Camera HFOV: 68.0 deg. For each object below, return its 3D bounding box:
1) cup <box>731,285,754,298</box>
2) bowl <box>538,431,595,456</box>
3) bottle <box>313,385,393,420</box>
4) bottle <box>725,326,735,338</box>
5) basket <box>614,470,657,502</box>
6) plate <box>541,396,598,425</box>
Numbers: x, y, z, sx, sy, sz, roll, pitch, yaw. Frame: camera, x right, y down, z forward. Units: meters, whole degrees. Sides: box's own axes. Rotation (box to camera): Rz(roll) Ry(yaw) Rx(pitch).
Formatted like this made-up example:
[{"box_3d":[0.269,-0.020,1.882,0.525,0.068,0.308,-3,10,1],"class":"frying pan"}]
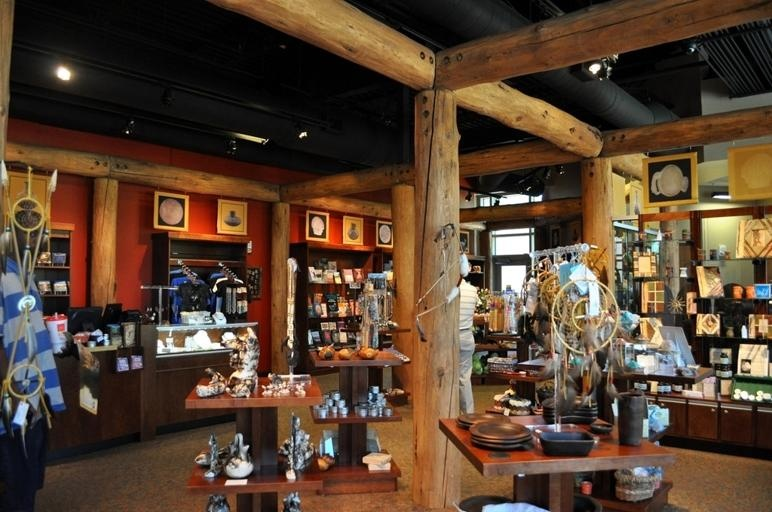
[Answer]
[{"box_3d":[4.620,0.464,7.383,0.179,0.126,0.175,0,-1,0],"class":"cup"},{"box_3d":[1.308,1.371,4.185,0.280,0.087,0.190,0,-5,2],"class":"bowl"},{"box_3d":[-0.367,1.653,6.459,0.897,0.296,0.414,1,-5,-7],"class":"bottle"},{"box_3d":[4.484,0.993,7.452,0.125,0.163,0.124,2,4,0],"class":"bottle"},{"box_3d":[2.500,2.302,5.750,0.304,0.244,0.354,-1,-2,34],"class":"basket"},{"box_3d":[1.450,1.241,4.590,0.459,0.219,0.221,3,-6,-27],"class":"plate"}]
